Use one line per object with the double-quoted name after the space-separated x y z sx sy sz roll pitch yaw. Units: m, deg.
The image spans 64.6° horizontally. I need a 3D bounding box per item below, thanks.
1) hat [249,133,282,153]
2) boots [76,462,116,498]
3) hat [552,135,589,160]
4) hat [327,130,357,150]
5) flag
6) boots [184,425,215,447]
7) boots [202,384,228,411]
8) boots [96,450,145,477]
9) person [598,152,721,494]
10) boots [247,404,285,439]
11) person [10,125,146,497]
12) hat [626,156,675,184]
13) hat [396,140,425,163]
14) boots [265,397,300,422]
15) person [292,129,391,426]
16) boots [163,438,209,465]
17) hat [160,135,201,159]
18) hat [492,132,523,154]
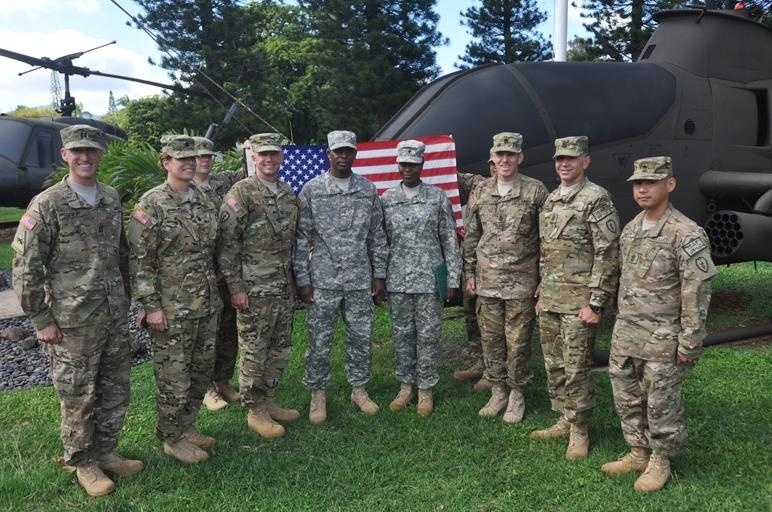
-1.272 -1.187 6.471 0.377 0.133 0.479 -1 7 -8 "hat"
-2.646 2.118 5.750 0.519 0.190 0.185 7 12 28 "boots"
1.964 -1.136 6.354 0.281 0.153 0.370 1 3 42 "hat"
-0.488 -1.270 6.760 0.297 0.239 0.393 0 7 -7 "hat"
-0.092 -0.723 7.095 1.834 1.024 0.103 -1 4 5 "flag"
-1.881 1.912 6.376 0.432 0.155 0.133 9 26 9 "boots"
-2.081 1.689 7.227 0.177 0.197 0.482 -1 -2 -38 "boots"
-2.602 2.021 5.988 0.514 0.197 0.163 3 25 -20 "boots"
2.538 0.632 5.719 0.851 3.082 0.641 6 9 32 "person"
-1.317 1.755 6.623 0.523 0.307 0.247 9 12 41 "boots"
-2.904 0.500 5.744 0.992 3.424 0.701 -3 9 -28 "person"
2.495 -0.821 5.795 0.423 0.191 0.300 3 -2 -23 "hat"
0.279 -1.141 6.751 0.272 0.263 0.132 0 8 -8 "hat"
-1.147 1.751 6.936 0.472 0.264 0.167 -2 7 -5 "boots"
-0.511 0.243 6.888 1.038 3.209 0.508 -3 9 -27 "person"
-2.063 1.977 6.196 0.444 0.150 0.217 4 20 21 "boots"
-2.084 -1.091 6.086 0.263 0.141 0.318 -1 1 -28 "hat"
1.360 -1.241 6.798 0.277 0.132 0.347 0 6 12 "hat"
